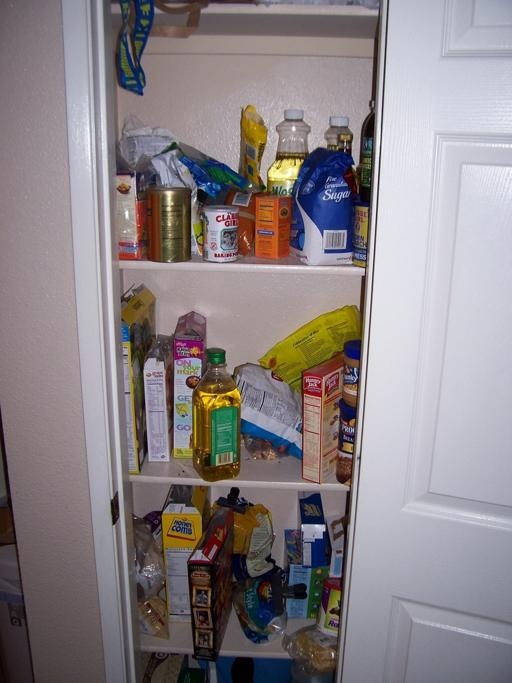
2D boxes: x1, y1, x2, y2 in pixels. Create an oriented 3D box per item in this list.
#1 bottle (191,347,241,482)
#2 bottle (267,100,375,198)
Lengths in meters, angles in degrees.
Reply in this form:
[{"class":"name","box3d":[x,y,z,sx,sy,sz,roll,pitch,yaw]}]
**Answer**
[{"class":"bottle","box3d":[-0.084,0.167,1.173,0.105,0.240,0.109,3,12,-1]},{"class":"bottle","box3d":[0.119,-0.394,1.147,0.189,0.181,0.265,3,13,1]}]
